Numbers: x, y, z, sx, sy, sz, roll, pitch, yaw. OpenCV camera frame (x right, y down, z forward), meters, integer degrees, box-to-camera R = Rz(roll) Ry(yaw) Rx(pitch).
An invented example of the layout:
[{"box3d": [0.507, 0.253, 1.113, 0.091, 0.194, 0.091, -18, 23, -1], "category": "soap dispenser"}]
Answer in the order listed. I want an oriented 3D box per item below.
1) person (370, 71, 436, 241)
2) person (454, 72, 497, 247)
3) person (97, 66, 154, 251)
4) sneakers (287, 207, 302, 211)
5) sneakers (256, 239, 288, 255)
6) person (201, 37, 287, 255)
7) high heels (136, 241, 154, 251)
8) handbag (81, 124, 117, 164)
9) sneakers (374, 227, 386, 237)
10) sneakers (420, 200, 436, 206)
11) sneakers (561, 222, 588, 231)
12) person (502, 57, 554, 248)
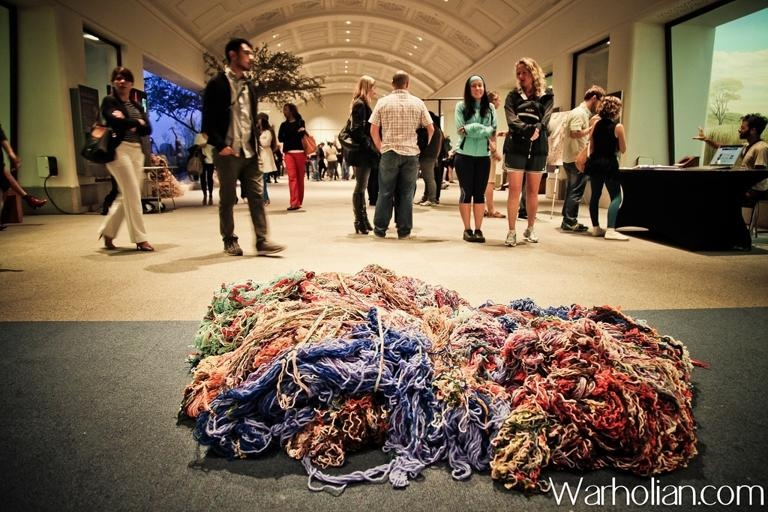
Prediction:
[{"box3d": [0.206, -1.260, 5.676, 0.751, 2.034, 0.386, 0, 12, 0], "category": "person"}, {"box3d": [1.119, -1.192, 5.533, 0.462, 1.970, 0.632, 3, 12, 10], "category": "person"}, {"box3d": [-2.863, -1.056, 4.983, 0.562, 2.003, 0.468, 6, 13, 25], "category": "person"}, {"box3d": [-1.789, -0.935, 8.856, 0.089, 0.097, 0.251, 2, 1, 35], "category": "sneakers"}, {"box3d": [-1.230, -0.094, 4.850, 0.286, 0.124, 0.132, -2, 8, -1], "category": "sneakers"}, {"box3d": [-1.535, -1.115, 4.700, 0.674, 2.210, 0.476, -4, 13, -18], "category": "person"}, {"box3d": [-2.732, -0.114, 5.123, 0.274, 0.126, 0.093, -1, 3, 21], "category": "high heels"}, {"box3d": [-3.007, -1.182, 4.701, 0.291, 0.396, 0.250, 5, 13, 21], "category": "handbag"}, {"box3d": [-0.053, -0.298, 5.759, 0.141, 0.069, 0.202, -3, -4, 32], "category": "sneakers"}, {"box3d": [0.984, -1.173, 9.922, 0.324, 0.141, 0.119, 2, 9, 0], "category": "sneakers"}, {"box3d": [2.774, -0.422, 6.537, 0.367, 0.157, 0.138, 0, 17, 10], "category": "sneakers"}, {"box3d": [1.664, -1.198, 5.271, 0.594, 2.129, 0.428, -7, 14, -29], "category": "person"}]
